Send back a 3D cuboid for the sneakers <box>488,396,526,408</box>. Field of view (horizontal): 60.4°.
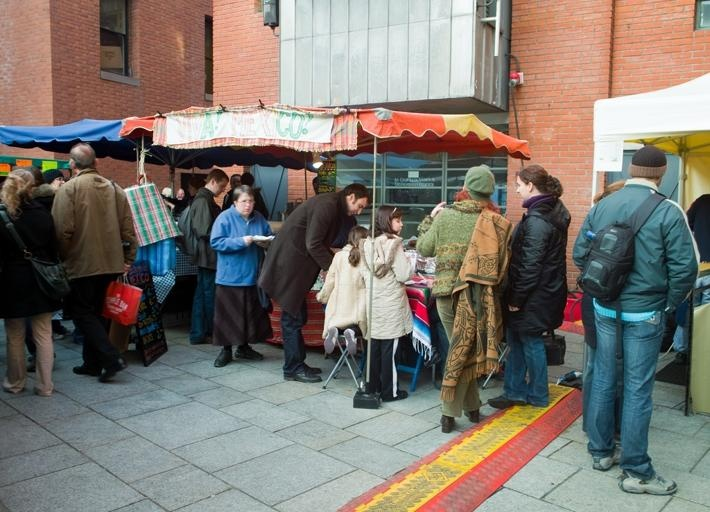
[{"bbox_3d":[1.482,1.411,5.996,0.356,0.137,0.126,1,-5,9],"label":"sneakers"}]

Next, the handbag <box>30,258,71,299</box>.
[{"bbox_3d":[-2.938,0.219,5.864,0.335,0.419,0.150,-2,12,-17],"label":"handbag"}]

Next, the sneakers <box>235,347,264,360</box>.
[{"bbox_3d":[-1.273,1.152,7.225,0.372,0.151,0.134,0,-2,10],"label":"sneakers"}]

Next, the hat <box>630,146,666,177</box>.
[{"bbox_3d":[2.298,-0.748,4.879,0.270,0.214,0.253,-3,17,10],"label":"hat"}]

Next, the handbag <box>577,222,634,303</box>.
[{"bbox_3d":[1.939,0.040,4.695,0.335,0.573,0.161,5,12,19],"label":"handbag"}]

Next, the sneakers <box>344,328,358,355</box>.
[{"bbox_3d":[-0.052,0.848,6.042,0.111,0.254,0.111,-12,-10,24],"label":"sneakers"}]

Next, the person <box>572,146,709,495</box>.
[{"bbox_3d":[2.190,0.466,4.779,0.609,2.570,0.952,-6,14,-31],"label":"person"}]

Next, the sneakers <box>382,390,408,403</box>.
[{"bbox_3d":[0.405,1.393,6.179,0.293,0.117,0.098,-4,7,-36],"label":"sneakers"}]

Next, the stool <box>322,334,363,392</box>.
[{"bbox_3d":[-0.105,1.069,6.448,0.419,0.514,0.372,-1,-6,11],"label":"stool"}]

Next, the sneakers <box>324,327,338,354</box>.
[{"bbox_3d":[-0.257,0.862,6.155,0.124,0.275,0.123,11,5,15],"label":"sneakers"}]

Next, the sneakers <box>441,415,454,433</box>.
[{"bbox_3d":[0.826,1.511,5.482,0.072,0.132,0.196,2,3,33],"label":"sneakers"}]

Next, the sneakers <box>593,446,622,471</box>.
[{"bbox_3d":[2.085,1.668,5.016,0.302,0.131,0.116,-11,7,-43],"label":"sneakers"}]

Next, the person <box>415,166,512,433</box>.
[{"bbox_3d":[1.013,0.374,5.631,0.776,2.353,0.722,-1,12,-11],"label":"person"}]

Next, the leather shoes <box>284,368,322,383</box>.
[{"bbox_3d":[-0.572,1.273,6.581,0.320,0.117,0.178,-1,-2,6],"label":"leather shoes"}]

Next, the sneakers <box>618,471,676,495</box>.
[{"bbox_3d":[2.228,1.746,4.751,0.451,0.207,0.159,-1,-2,9],"label":"sneakers"}]
